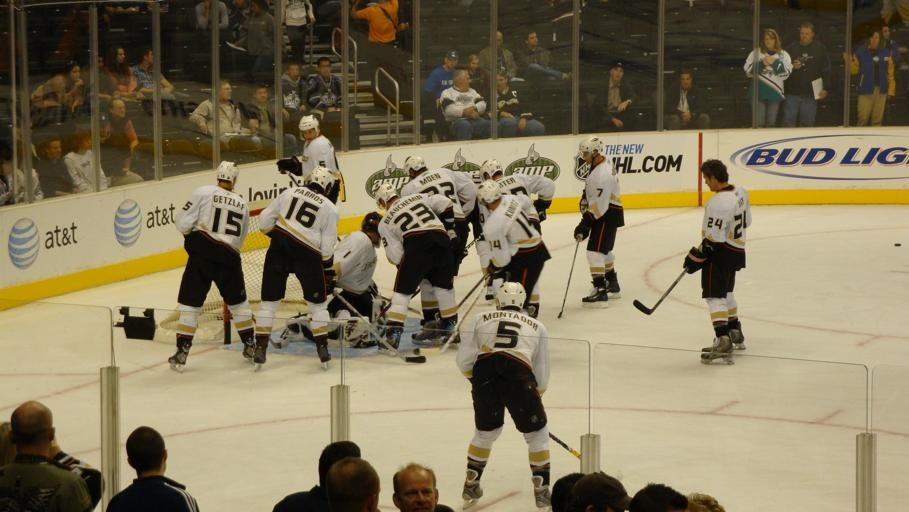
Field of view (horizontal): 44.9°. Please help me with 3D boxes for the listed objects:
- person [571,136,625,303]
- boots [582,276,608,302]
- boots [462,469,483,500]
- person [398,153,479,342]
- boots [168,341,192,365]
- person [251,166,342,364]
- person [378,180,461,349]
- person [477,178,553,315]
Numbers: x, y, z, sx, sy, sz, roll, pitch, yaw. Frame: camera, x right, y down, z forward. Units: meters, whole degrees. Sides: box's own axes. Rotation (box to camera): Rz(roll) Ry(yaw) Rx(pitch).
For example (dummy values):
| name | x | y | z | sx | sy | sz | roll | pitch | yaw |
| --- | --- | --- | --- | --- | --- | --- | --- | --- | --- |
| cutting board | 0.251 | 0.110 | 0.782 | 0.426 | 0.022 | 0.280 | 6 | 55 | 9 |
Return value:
| name | x | y | z | sx | sy | sz | roll | pitch | yaw |
| --- | --- | --- | --- | --- | --- | --- | --- | --- | --- |
| person | 2.027 | -0.488 | 15.510 | 0.780 | 2.286 | 0.858 | 2 | 6 | 14 |
| boots | 1.921 | 0.448 | 15.171 | 0.339 | 0.351 | 0.260 | 1 | 8 | 5 |
| boots | 0.158 | 2.123 | 10.412 | 0.177 | 0.265 | 0.408 | 9 | 0 | 8 |
| person | -0.350 | -0.133 | 15.022 | 1.278 | 2.642 | 0.887 | 0 | 9 | -11 |
| boots | -2.618 | 0.942 | 10.565 | 0.108 | 0.206 | 0.223 | 13 | 12 | -29 |
| person | -1.966 | 0.095 | 12.571 | 1.074 | 2.144 | 1.095 | 2 | 0 | 1 |
| person | -0.439 | 0.078 | 13.735 | 0.942 | 1.905 | 1.023 | 2 | 1 | 5 |
| person | 0.804 | -0.190 | 13.918 | 0.765 | 1.850 | 1.315 | 1 | 1 | 26 |
